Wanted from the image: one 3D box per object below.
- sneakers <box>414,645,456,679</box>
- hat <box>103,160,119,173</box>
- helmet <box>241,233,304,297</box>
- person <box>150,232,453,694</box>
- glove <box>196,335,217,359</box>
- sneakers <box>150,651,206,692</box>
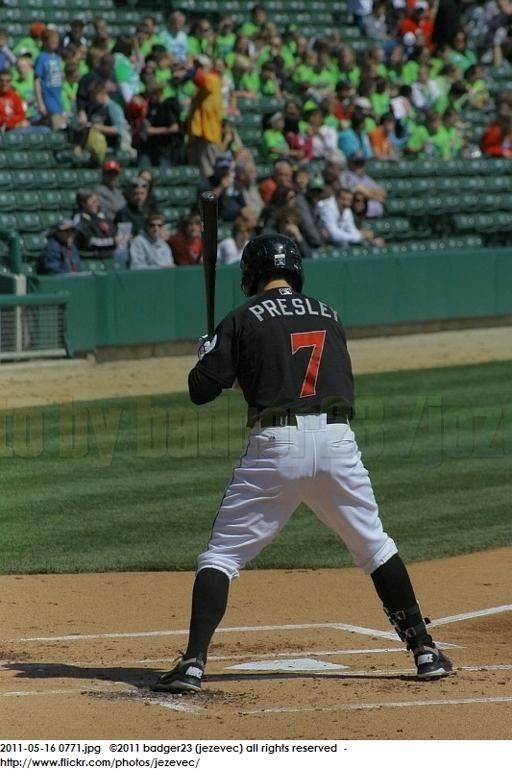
[{"bbox_3d":[0.574,0.918,4.117,0.069,0.074,0.180,-5,-9,35],"label":"sneakers"},{"bbox_3d":[-1.183,-1.776,10.240,0.141,0.075,0.184,1,18,-19],"label":"hat"},{"bbox_3d":[0.033,-0.399,4.168,0.182,0.187,0.216,-1,23,-5],"label":"helmet"},{"bbox_3d":[0.126,0.334,3.995,0.923,1.298,0.296,-1,4,-5],"label":"person"},{"bbox_3d":[-0.167,-0.131,4.081,0.066,0.075,0.086,0,-4,2],"label":"glove"},{"bbox_3d":[-0.247,0.916,3.924,0.156,0.137,0.158,-1,3,-7],"label":"sneakers"}]
